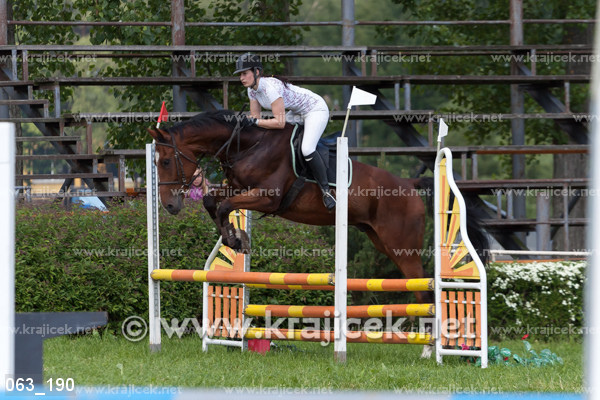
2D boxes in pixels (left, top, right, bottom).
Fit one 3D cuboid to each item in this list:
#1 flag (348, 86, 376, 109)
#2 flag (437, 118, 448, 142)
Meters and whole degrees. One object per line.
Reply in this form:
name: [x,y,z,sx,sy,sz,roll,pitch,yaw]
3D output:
flag: [1.271,-2.108,28.743,0.604,0.424,0.343,0,0,14]
flag: [3.006,-1.461,29.300,0.171,0.506,0.487,0,0,5]
